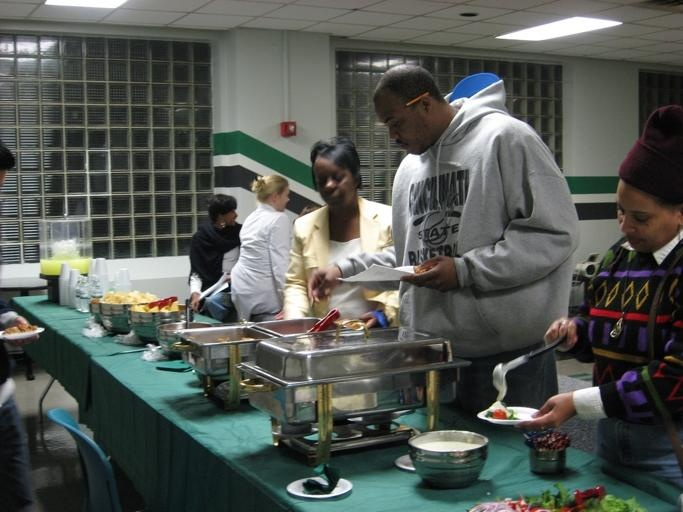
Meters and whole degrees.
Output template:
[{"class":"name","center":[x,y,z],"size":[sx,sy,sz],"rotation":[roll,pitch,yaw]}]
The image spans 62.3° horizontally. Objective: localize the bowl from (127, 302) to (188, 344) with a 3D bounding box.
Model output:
[{"class":"bowl","center":[-0.909,0.340,2.772],"size":[0.266,0.114,0.244],"rotation":[0,-5,0]}]

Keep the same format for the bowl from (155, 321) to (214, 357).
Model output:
[{"class":"bowl","center":[-0.632,0.361,2.450],"size":[0.309,0.097,0.200],"rotation":[1,-2,-4]}]

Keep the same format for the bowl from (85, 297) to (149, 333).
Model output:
[{"class":"bowl","center":[-1.186,0.320,3.053],"size":[0.293,0.115,0.245],"rotation":[-2,4,-30]}]

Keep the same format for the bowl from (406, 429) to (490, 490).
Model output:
[{"class":"bowl","center":[0.249,0.466,1.334],"size":[0.187,0.059,0.148],"rotation":[-1,-7,2]}]

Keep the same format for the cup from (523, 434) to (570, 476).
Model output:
[{"class":"cup","center":[0.469,0.489,1.407],"size":[0.135,0.079,0.113],"rotation":[0,-9,-2]}]
